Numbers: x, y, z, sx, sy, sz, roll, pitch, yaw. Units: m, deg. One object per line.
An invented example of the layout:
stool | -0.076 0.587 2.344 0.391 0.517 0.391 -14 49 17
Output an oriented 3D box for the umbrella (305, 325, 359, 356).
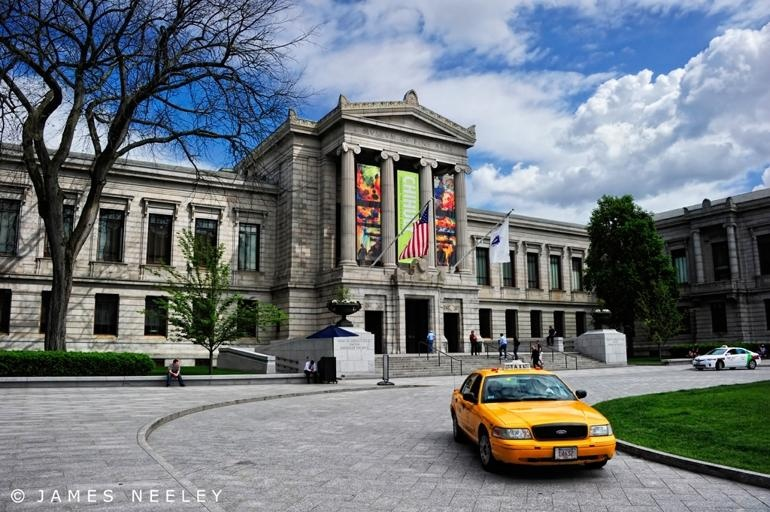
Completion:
umbrella | -2.972 4.697 34.774 2.806 1.240 1.346 0 -10 -3

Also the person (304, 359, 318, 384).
person | -4.070 6.277 32.509 0.671 1.125 0.583 2 -10 -13

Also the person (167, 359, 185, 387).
person | -10.488 5.774 29.645 0.849 1.272 1.828 4 -10 -21

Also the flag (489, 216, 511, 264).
flag | 8.026 -1.136 41.537 0.811 3.041 1.730 4 -10 -21

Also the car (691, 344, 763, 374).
car | 22.116 6.557 38.527 3.915 1.352 1.864 2 -10 -15

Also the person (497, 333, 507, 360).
person | 8.465 6.576 42.778 0.550 1.621 1.588 -2 -10 10

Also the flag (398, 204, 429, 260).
flag | 2.251 -1.770 42.511 1.263 3.765 1.973 -9 -13 41

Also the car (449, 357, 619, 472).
car | 3.504 3.863 14.599 2.795 2.356 3.127 2 -10 -11
